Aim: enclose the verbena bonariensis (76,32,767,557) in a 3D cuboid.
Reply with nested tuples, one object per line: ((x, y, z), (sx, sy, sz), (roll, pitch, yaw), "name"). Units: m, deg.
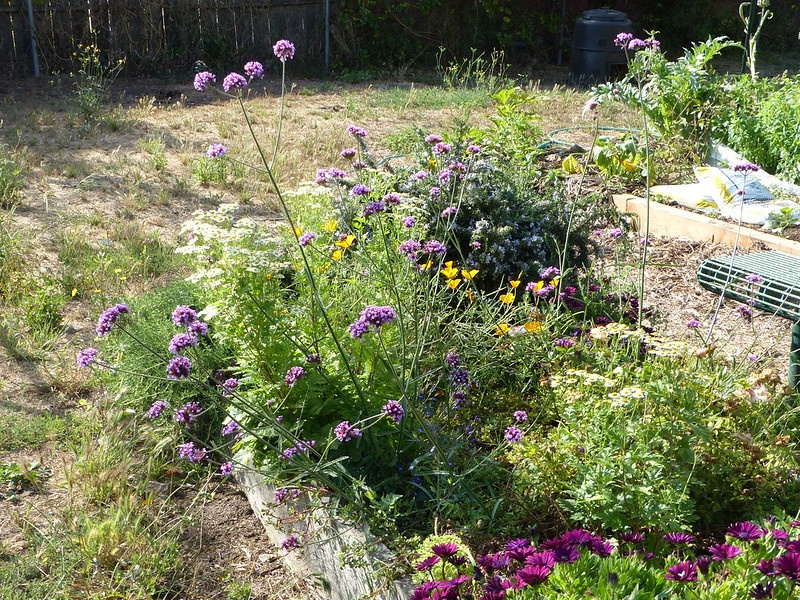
((0.155, 0.838, 5.652), (3.571, 1.755, 2.982), (18, 44, 10), "verbena bonariensis")
